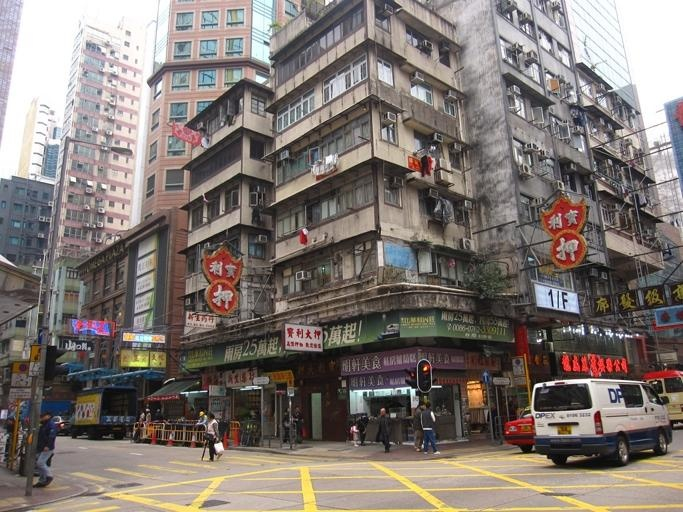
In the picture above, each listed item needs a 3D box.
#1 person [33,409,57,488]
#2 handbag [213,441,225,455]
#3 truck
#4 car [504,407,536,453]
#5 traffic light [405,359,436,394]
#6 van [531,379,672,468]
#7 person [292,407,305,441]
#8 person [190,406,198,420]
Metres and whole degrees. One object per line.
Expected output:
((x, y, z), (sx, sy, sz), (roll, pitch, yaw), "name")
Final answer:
((-10.029, 6.565, 19.161), (0.590, 2.392, 1.406), (6, -21, -26), "person")
((-5.218, 8.184, 23.938), (0.356, 0.494, 0.464), (3, -20, -17), "handbag")
((-17.695, 11.613, 41.150), (5.876, 3.032, 2.626), (-15, -23, 40), "truck")
((7.699, 7.087, 23.697), (1.425, 1.346, 2.822), (-7, -10, 18), "car")
((3.337, 4.629, 23.404), (1.184, 1.732, 1.221), (-4, 23, 3), "traffic light")
((9.324, 5.695, 19.336), (5.886, 2.770, 1.944), (7, -21, -28), "van")
((-2.437, 9.510, 31.608), (0.472, 1.930, 1.580), (0, -19, -9), "person")
((-11.154, 11.886, 42.571), (0.663, 1.265, 0.678), (4, -19, -18), "person")
